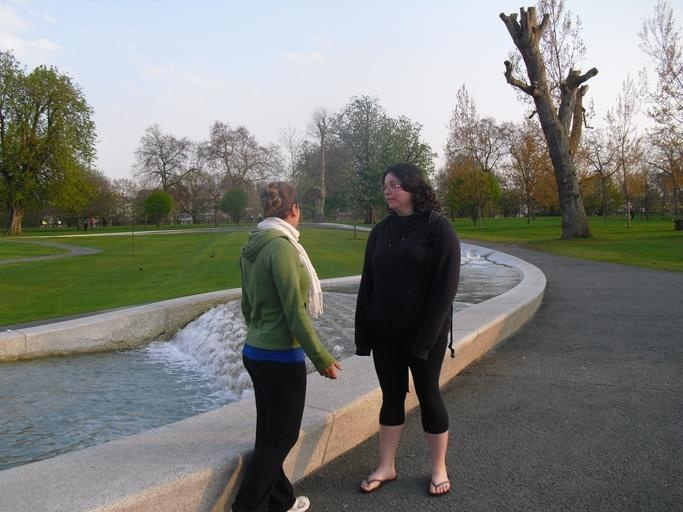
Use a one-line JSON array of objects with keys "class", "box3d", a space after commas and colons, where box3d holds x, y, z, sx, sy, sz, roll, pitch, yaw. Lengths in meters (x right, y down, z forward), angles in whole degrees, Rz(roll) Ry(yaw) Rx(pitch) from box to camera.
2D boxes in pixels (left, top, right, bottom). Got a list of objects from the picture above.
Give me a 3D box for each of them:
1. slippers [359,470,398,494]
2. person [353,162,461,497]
[{"class": "slippers", "box3d": [0.252, 1.707, 3.448, 0.182, 0.052, 0.103, -1, 1, -34]}, {"class": "person", "box3d": [0.490, 0.530, 3.454, 0.836, 2.468, 0.450, 5, 4, 17]}]
